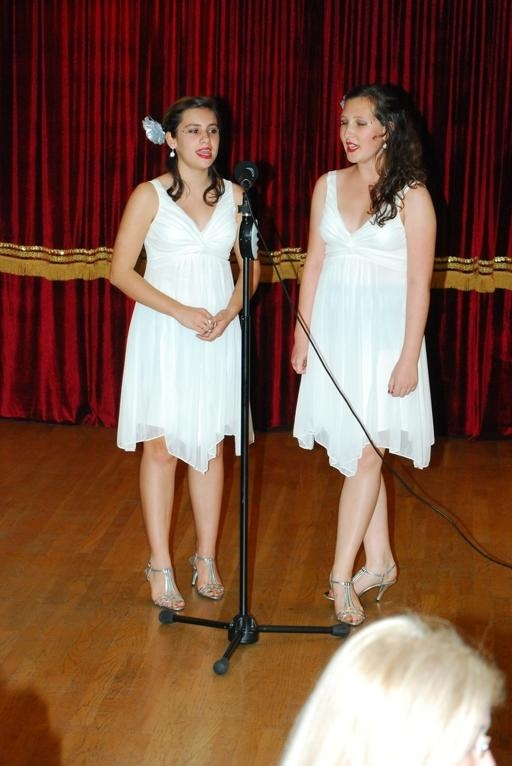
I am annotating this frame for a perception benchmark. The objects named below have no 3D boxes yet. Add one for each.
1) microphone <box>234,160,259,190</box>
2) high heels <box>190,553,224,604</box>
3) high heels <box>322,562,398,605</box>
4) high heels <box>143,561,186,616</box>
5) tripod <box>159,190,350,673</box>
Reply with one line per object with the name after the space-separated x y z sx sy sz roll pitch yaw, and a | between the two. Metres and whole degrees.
-0.022 -0.612 1.946 0.059 0.058 0.121 -1 63 -2 | microphone
-0.189 0.755 2.558 0.062 0.134 0.223 -1 12 -16 | high heels
0.436 0.767 2.646 0.300 0.247 0.128 1 4 -15 | high heels
-0.335 0.765 2.460 0.066 0.104 0.227 -5 31 -16 | high heels
-0.008 0.164 2.195 0.634 1.470 0.452 -3 10 -19 | tripod
